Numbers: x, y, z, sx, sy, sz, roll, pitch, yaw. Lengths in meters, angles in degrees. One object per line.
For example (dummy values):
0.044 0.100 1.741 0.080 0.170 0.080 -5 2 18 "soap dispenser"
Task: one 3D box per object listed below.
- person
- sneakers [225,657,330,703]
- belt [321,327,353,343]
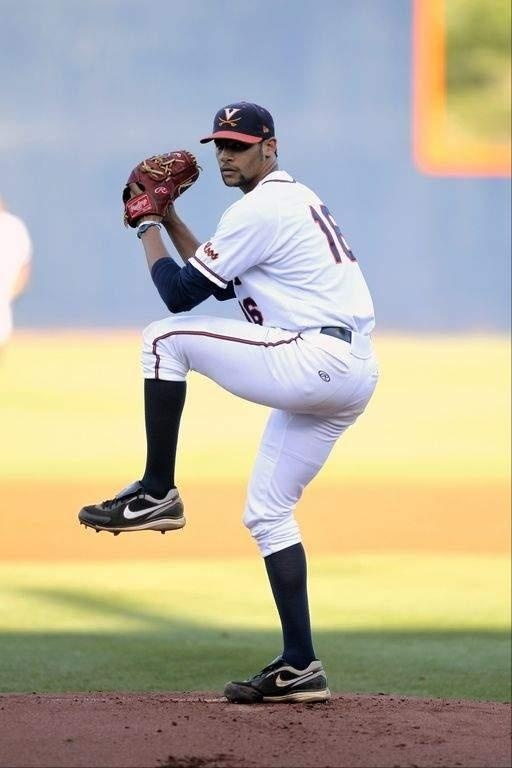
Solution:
-0.048 0.058 3.695 0.865 1.903 0.552 1 -5 5 "person"
0.088 0.953 3.778 0.369 0.140 0.124 0 -6 0 "sneakers"
0.248 -0.147 3.512 0.098 0.049 0.027 2 -5 -14 "belt"
